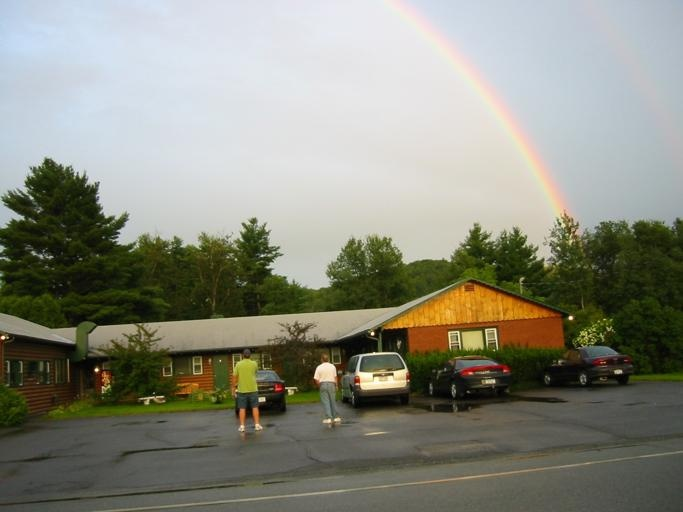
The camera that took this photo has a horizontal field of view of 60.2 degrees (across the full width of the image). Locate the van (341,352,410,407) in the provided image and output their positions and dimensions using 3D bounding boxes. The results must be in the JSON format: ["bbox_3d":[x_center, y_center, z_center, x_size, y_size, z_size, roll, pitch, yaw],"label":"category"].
[{"bbox_3d":[1.165,4.584,22.531,1.542,1.345,3.006,0,-3,-7],"label":"van"}]

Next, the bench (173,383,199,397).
[{"bbox_3d":[-9.555,8.272,36.758,1.002,0.893,3.406,-3,-13,-8],"label":"bench"}]

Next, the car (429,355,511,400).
[{"bbox_3d":[4.699,4.716,22.980,1.412,1.032,3.250,1,-7,-13],"label":"car"}]

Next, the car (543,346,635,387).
[{"bbox_3d":[10.082,4.470,24.488,1.530,1.295,3.661,2,-9,-21],"label":"car"}]
